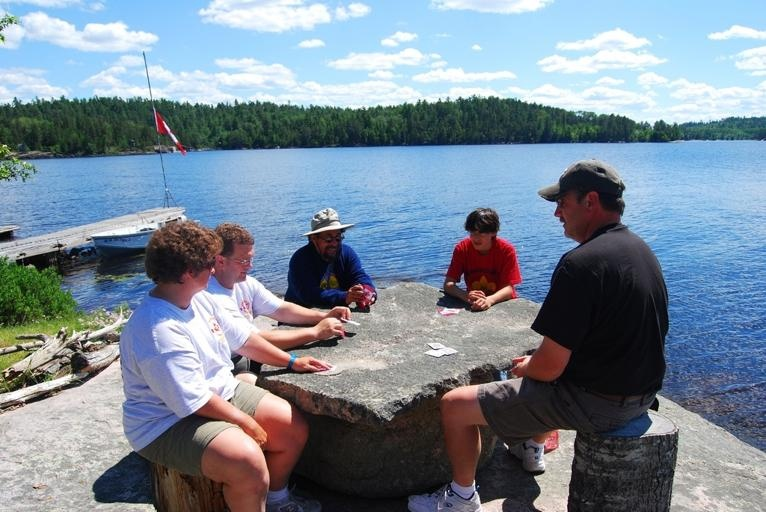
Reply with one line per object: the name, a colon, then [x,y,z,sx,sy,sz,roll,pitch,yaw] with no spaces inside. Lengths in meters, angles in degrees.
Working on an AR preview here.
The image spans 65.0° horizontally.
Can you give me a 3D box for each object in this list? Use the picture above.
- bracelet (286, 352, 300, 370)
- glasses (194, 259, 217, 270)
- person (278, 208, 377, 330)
bracelet: [-1.010,1.165,6.690,0.050,0.136,0.136,23,0,-18]
glasses: [-1.765,0.081,5.961,0.111,0.117,0.034,2,-6,-12]
person: [-0.646,-0.052,8.685,0.972,1.547,1.599,-12,24,-33]
